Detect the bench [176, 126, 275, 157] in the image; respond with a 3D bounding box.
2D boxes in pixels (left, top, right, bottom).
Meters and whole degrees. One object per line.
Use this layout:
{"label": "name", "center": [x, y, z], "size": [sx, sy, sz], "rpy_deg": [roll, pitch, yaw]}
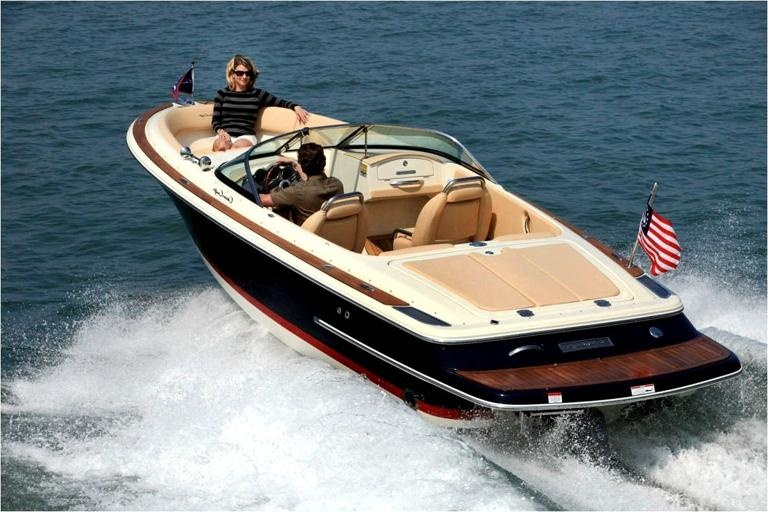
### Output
{"label": "bench", "center": [-2.262, -1.530, 12.679], "size": [0.890, 0.195, 0.723], "rpy_deg": [-4, -1, -32]}
